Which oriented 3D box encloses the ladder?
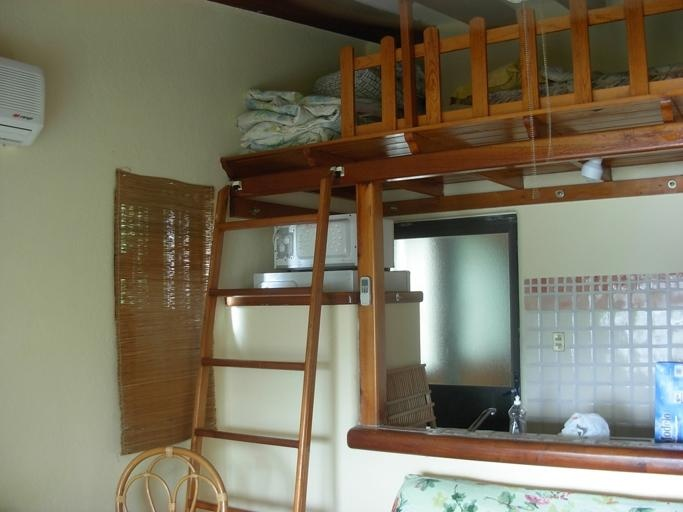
[{"bbox_3d":[-0.426,0.462,2.898,0.819,1.785,0.470,-2,-4,29],"label":"ladder"}]
